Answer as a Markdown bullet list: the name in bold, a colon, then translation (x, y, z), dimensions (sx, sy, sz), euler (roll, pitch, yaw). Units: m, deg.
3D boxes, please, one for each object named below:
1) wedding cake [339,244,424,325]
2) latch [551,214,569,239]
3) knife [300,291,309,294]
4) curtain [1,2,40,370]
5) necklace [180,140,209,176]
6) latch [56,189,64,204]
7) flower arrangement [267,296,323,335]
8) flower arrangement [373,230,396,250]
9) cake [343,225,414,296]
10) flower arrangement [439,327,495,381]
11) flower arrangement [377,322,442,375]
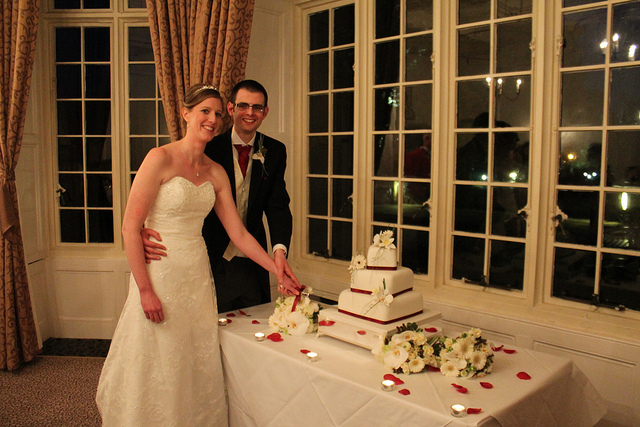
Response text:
- **wedding cake**: translation (0.360, 0.412, 3.015), dimensions (0.435, 0.426, 0.459), euler (-6, 7, -43)
- **latch**: translation (1.902, 0.103, 3.832), dimensions (0.056, 0.178, 0.104), euler (-15, -3, -29)
- **knife**: translation (-0.112, 0.529, 3.185), dimensions (0.049, 0.009, 0.014), euler (-2, -29, 12)
- **curtain**: translation (-2.922, -0.220, 4.588), dimensions (0.207, 3.056, 0.521), euler (0, 10, -15)
- **necklace**: translation (-0.822, -0.355, 3.131), dimensions (0.079, 0.303, 0.008), euler (-22, 48, -2)
- **latch**: translation (-2.823, -0.187, 5.249), dimensions (0.051, 0.137, 0.051), euler (-17, 2, -26)
- **flower arrangement**: translation (-0.165, 0.667, 3.122), dimensions (0.229, 0.154, 0.264), euler (-4, 5, -25)
- **flower arrangement**: translation (0.391, 0.172, 2.921), dimensions (0.108, 0.107, 0.053), euler (-12, -1, -8)
- **cake**: translation (0.367, 0.309, 2.904), dimensions (0.373, 0.373, 0.186), euler (2, 5, 10)
- **flower arrangement**: translation (0.788, 0.746, 2.746), dimensions (0.302, 0.262, 0.300), euler (6, 7, 0)
- **flower arrangement**: translation (0.490, 0.736, 2.769), dimensions (0.288, 0.246, 0.297), euler (-2, 11, -23)
